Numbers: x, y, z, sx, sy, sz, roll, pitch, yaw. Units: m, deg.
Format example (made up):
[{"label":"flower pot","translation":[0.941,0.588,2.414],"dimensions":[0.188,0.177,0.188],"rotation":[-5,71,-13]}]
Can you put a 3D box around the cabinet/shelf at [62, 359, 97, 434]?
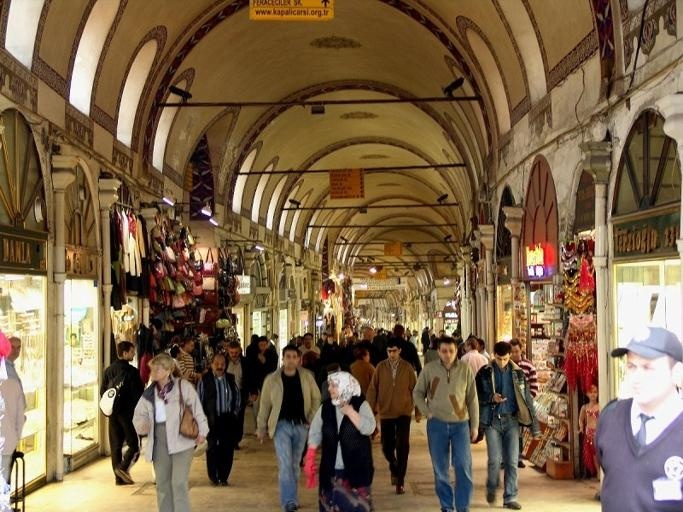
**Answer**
[{"label":"cabinet/shelf","translation":[-4.200,2.220,9.874],"dimensions":[0.339,0.533,1.279],"rotation":[-1,1,-6]}]

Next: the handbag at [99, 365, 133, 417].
[{"label":"handbag","translation":[-3.025,1.850,8.579],"dimensions":[0.306,0.589,0.569],"rotation":[-4,23,20]}]

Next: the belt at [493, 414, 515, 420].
[{"label":"belt","translation":[1.942,1.901,7.390],"dimensions":[0.274,0.074,0.064],"rotation":[1,-7,-15]}]

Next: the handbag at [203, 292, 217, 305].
[{"label":"handbag","translation":[-3.505,1.078,16.507],"dimensions":[0.324,0.380,0.281],"rotation":[0,-15,-3]}]

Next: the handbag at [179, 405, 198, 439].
[{"label":"handbag","translation":[-1.563,1.694,6.317],"dimensions":[0.080,0.281,0.235],"rotation":[-9,22,-43]}]

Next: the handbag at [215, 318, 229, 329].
[{"label":"handbag","translation":[-3.215,1.766,16.547],"dimensions":[0.227,0.280,0.073],"rotation":[8,1,-25]}]

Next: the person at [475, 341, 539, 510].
[{"label":"person","translation":[1.971,1.983,7.415],"dimensions":[0.684,1.936,0.348],"rotation":[-2,-7,14]}]

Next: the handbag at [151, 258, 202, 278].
[{"label":"handbag","translation":[-3.798,0.250,14.114],"dimensions":[0.334,0.372,1.375],"rotation":[17,2,10]}]

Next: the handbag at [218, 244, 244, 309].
[{"label":"handbag","translation":[-3.300,0.292,18.099],"dimensions":[0.572,2.327,0.551],"rotation":[-20,-30,38]}]

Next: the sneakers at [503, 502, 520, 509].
[{"label":"sneakers","translation":[2.005,2.908,7.304],"dimensions":[0.146,0.073,0.079],"rotation":[-11,-9,42]}]

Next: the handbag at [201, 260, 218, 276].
[{"label":"handbag","translation":[-3.614,0.316,16.867],"dimensions":[0.308,0.456,0.158],"rotation":[2,-30,0]}]

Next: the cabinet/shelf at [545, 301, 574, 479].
[{"label":"cabinet/shelf","translation":[3.084,1.943,8.896],"dimensions":[0.371,2.291,0.650],"rotation":[1,-7,-10]}]
